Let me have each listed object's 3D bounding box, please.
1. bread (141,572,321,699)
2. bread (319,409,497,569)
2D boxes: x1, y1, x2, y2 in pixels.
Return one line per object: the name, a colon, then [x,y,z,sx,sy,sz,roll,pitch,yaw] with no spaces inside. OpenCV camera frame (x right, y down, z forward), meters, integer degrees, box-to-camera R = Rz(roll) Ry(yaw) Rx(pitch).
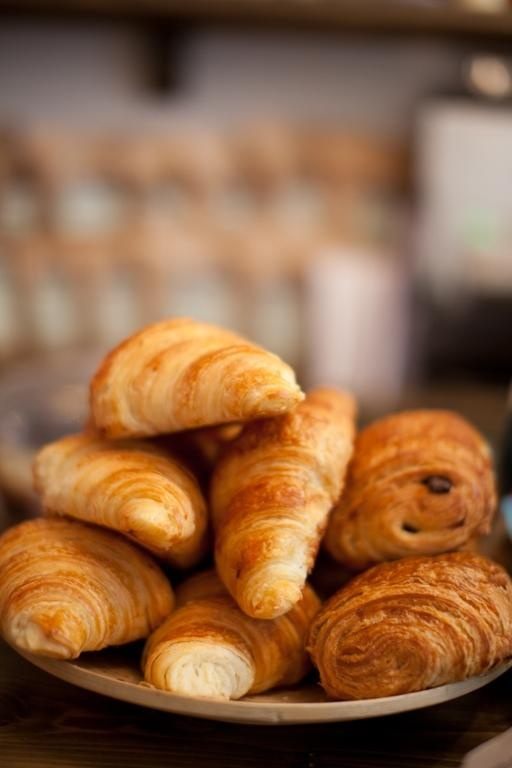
bread: [-0.022,0.171,0.528,0.080,0.043,0.128,6,-3,8]
bread: [0.115,0.080,0.641,0.115,0.054,0.137,-26,15,-4]
